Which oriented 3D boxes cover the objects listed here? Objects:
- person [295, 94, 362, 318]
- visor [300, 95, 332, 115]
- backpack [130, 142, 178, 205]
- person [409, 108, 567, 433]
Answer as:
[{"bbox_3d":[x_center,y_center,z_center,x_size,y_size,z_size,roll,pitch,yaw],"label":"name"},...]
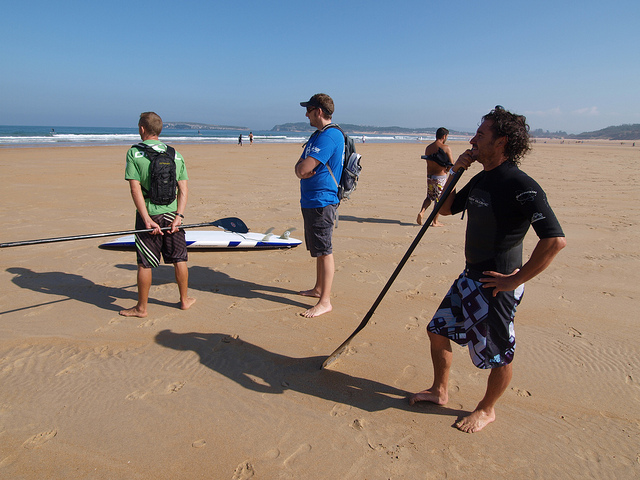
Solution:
[{"bbox_3d":[0.019,-0.382,5.599,0.572,2.457,0.826,6,18,20],"label":"person"},{"bbox_3d":[-0.102,-1.498,5.485,0.190,0.182,0.399,-15,21,-43],"label":"visor"},{"bbox_3d":[-1.777,-0.762,5.477,0.545,0.646,0.458,20,24,38],"label":"backpack"},{"bbox_3d":[1.378,0.276,3.953,1.022,2.599,0.742,11,21,34],"label":"person"}]
